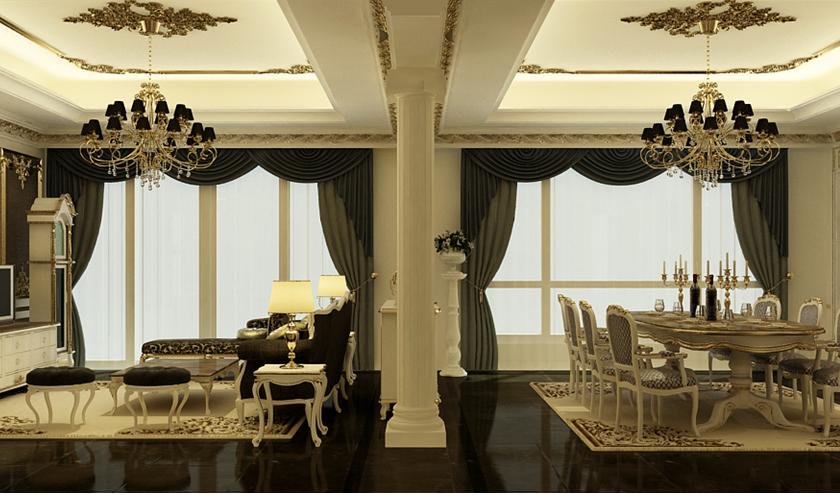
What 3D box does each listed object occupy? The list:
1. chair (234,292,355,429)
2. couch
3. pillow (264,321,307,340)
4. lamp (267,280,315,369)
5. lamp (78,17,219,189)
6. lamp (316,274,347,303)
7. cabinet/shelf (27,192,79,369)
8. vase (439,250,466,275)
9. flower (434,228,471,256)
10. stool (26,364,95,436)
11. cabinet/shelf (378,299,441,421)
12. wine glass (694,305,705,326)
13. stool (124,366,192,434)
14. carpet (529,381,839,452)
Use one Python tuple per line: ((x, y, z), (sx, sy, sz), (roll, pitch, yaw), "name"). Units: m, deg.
((-1.661, 1.605, 9.802), (1.481, 1.723, 2.492), (-3, -6, 7), "chair")
((-3.376, 1.556, 10.649), (1.882, 0.978, 1.160), (1, -5, -2), "couch")
((-1.817, 1.188, 9.182), (0.440, 0.125, 0.382), (-5, -3, 36), "pillow")
((-1.659, 0.963, 8.485), (0.553, 1.143, 0.710), (-2, 9, -13), "lamp")
((-4.080, -2.198, 9.949), (2.065, 2.396, 1.992), (3, 5, 16), "lamp")
((-1.404, 0.651, 10.523), (0.496, 0.457, 0.428), (-1, 1, -5), "lamp")
((-6.127, 0.605, 10.910), (0.608, 2.874, 0.764), (0, 0, -6), "cabinet/shelf")
((0.575, 0.282, 11.386), (0.437, 0.384, 0.418), (1, -11, -4), "vase")
((0.549, -0.076, 11.474), (0.515, 0.300, 0.468), (3, -4, -4), "flower")
((-4.933, 2.072, 9.013), (0.807, 0.790, 0.867), (0, -6, -1), "stool")
((-0.233, 1.708, 10.189), (0.740, 1.562, 1.741), (1, -6, -1), "cabinet/shelf")
((3.945, 0.956, 9.190), (0.192, 0.280, 0.176), (4, -8, -22), "wine glass")
((-3.574, 2.002, 9.070), (1.000, 0.793, 0.858), (1, -2, -1), "stool")
((3.573, 2.360, 8.939), (3.885, 0.122, 2.277), (2, 8, 13), "carpet")
